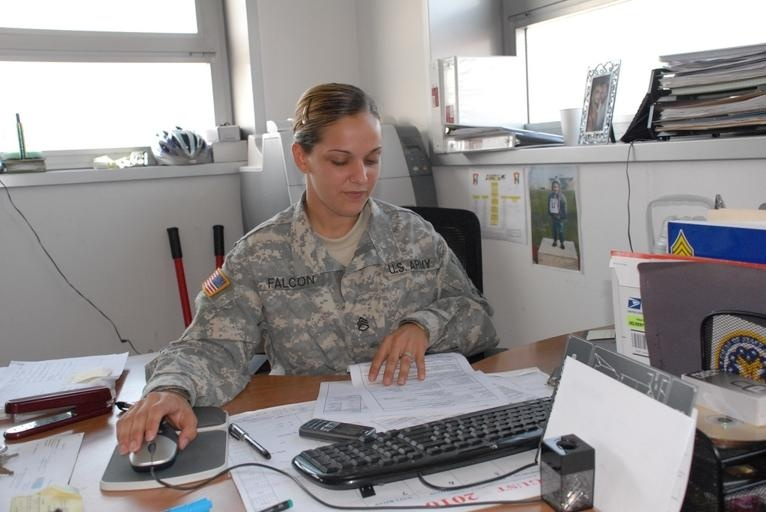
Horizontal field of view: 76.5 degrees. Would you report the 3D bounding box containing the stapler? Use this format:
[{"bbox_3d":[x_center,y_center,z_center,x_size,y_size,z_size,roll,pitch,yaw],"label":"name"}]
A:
[{"bbox_3d":[-0.738,0.366,1.111,0.275,0.080,0.056,-7,5,-30],"label":"stapler"}]

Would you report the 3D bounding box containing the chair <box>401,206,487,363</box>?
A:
[{"bbox_3d":[0.219,0.103,1.891,0.263,0.522,0.307,30,44,35],"label":"chair"}]

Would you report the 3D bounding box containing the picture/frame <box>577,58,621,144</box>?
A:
[{"bbox_3d":[0.823,-0.585,1.839,0.064,0.285,0.157,2,15,-16],"label":"picture/frame"}]

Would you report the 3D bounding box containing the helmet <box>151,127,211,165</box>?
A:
[{"bbox_3d":[-1.118,-0.609,2.704,0.320,0.212,0.245,-2,17,-15],"label":"helmet"}]

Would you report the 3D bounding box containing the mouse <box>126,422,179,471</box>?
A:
[{"bbox_3d":[-0.427,0.371,0.946,0.079,0.049,0.110,4,13,26],"label":"mouse"}]

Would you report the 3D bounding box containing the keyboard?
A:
[{"bbox_3d":[0.105,0.361,0.923,0.539,0.053,0.108,-5,12,-15],"label":"keyboard"}]

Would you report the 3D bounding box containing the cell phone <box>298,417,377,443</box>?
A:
[{"bbox_3d":[-0.094,0.345,0.997,0.120,0.025,0.057,3,8,18],"label":"cell phone"}]
